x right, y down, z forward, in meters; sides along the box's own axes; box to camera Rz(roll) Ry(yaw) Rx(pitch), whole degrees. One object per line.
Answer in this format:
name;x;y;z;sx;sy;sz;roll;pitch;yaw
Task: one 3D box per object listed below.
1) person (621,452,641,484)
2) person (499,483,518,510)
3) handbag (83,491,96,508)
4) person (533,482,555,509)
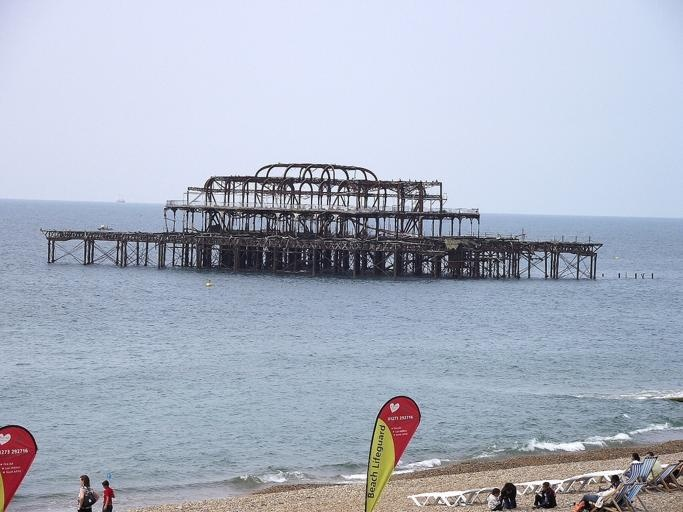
person;14.461;10.500;72.648;0.914;1.416;3.127;4;14;12
person;8.453;11.965;73.211;0.799;1.344;0.955;2;15;5
handbag;-12.222;11.842;71.246;0.828;0.782;0.571;6;-1;-3
person;10.285;11.816;73.430;1.127;1.242;1.435;2;15;8
